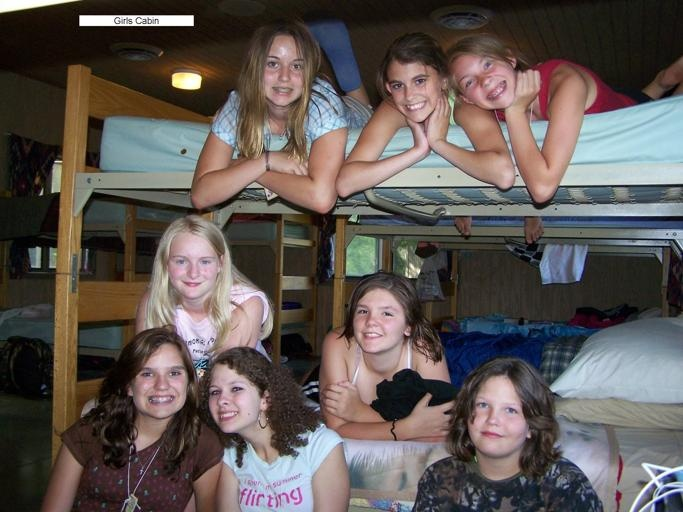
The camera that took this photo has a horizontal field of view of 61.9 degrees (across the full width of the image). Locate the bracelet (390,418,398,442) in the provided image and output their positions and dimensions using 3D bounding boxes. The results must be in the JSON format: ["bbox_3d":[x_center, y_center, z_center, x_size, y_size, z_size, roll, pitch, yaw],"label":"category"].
[{"bbox_3d":[0.244,0.797,2.608,0.033,0.080,0.026,-1,-6,7],"label":"bracelet"}]

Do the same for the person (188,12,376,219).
[{"bbox_3d":[-0.170,-0.970,3.179,0.775,0.751,1.682,4,34,19],"label":"person"}]

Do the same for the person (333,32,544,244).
[{"bbox_3d":[0.380,-0.697,2.702,0.760,0.362,1.080,-6,36,15],"label":"person"}]

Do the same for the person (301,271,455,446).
[{"bbox_3d":[0.258,0.506,2.790,0.679,0.799,0.886,2,12,22],"label":"person"}]

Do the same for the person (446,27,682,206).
[{"bbox_3d":[0.877,-0.730,2.536,0.986,0.490,0.595,-24,20,-6],"label":"person"}]
